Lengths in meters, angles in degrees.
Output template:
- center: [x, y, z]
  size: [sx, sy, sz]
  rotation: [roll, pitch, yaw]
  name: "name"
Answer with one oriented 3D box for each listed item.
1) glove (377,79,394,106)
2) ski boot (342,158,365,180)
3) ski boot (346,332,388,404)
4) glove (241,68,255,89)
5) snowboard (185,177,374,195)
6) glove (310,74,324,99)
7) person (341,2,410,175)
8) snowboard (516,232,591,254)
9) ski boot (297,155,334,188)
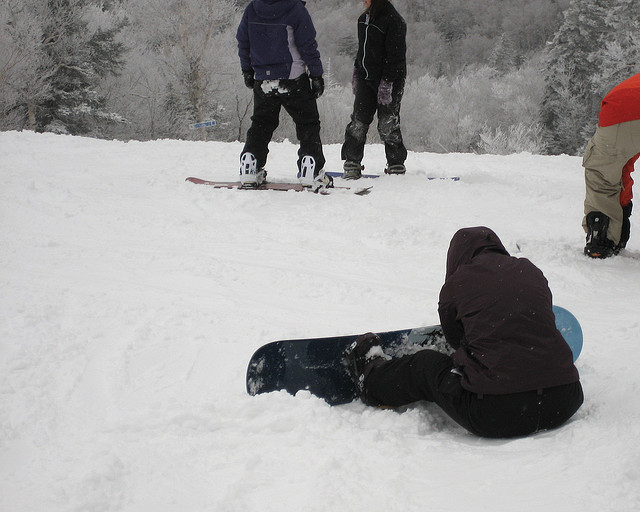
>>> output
- center: [0.715, -1.808, 7.217]
  size: [0.156, 0.261, 0.183]
  rotation: [2, 12, 3]
  name: "glove"
- center: [0.379, -1.024, 7.569]
  size: [0.187, 0.233, 0.226]
  rotation: [20, 35, 37]
  name: "ski boot"
- center: [0.297, 0.693, 4.168]
  size: [0.184, 0.368, 0.282]
  rotation: [-4, 13, -24]
  name: "ski boot"
- center: [-0.765, -1.903, 7.047]
  size: [0.120, 0.217, 0.053]
  rotation: [-10, 8, -16]
  name: "glove"
- center: [-0.485, -0.759, 7.055]
  size: [1.454, 0.093, 0.176]
  rotation: [2, 33, -5]
  name: "snowboard"
- center: [-0.026, -1.740, 6.772]
  size: [0.132, 0.207, 0.069]
  rotation: [13, 15, 26]
  name: "glove"
- center: [0.616, -1.831, 7.301]
  size: [0.697, 1.839, 0.540]
  rotation: [3, 12, 9]
  name: "person"
- center: [2.090, -0.124, 5.931]
  size: [0.490, 0.087, 0.140]
  rotation: [-5, 48, -19]
  name: "snowboard"
- center: [-0.029, -0.914, 7.029]
  size: [0.400, 0.356, 0.186]
  rotation: [-1, 12, -12]
  name: "ski boot"
